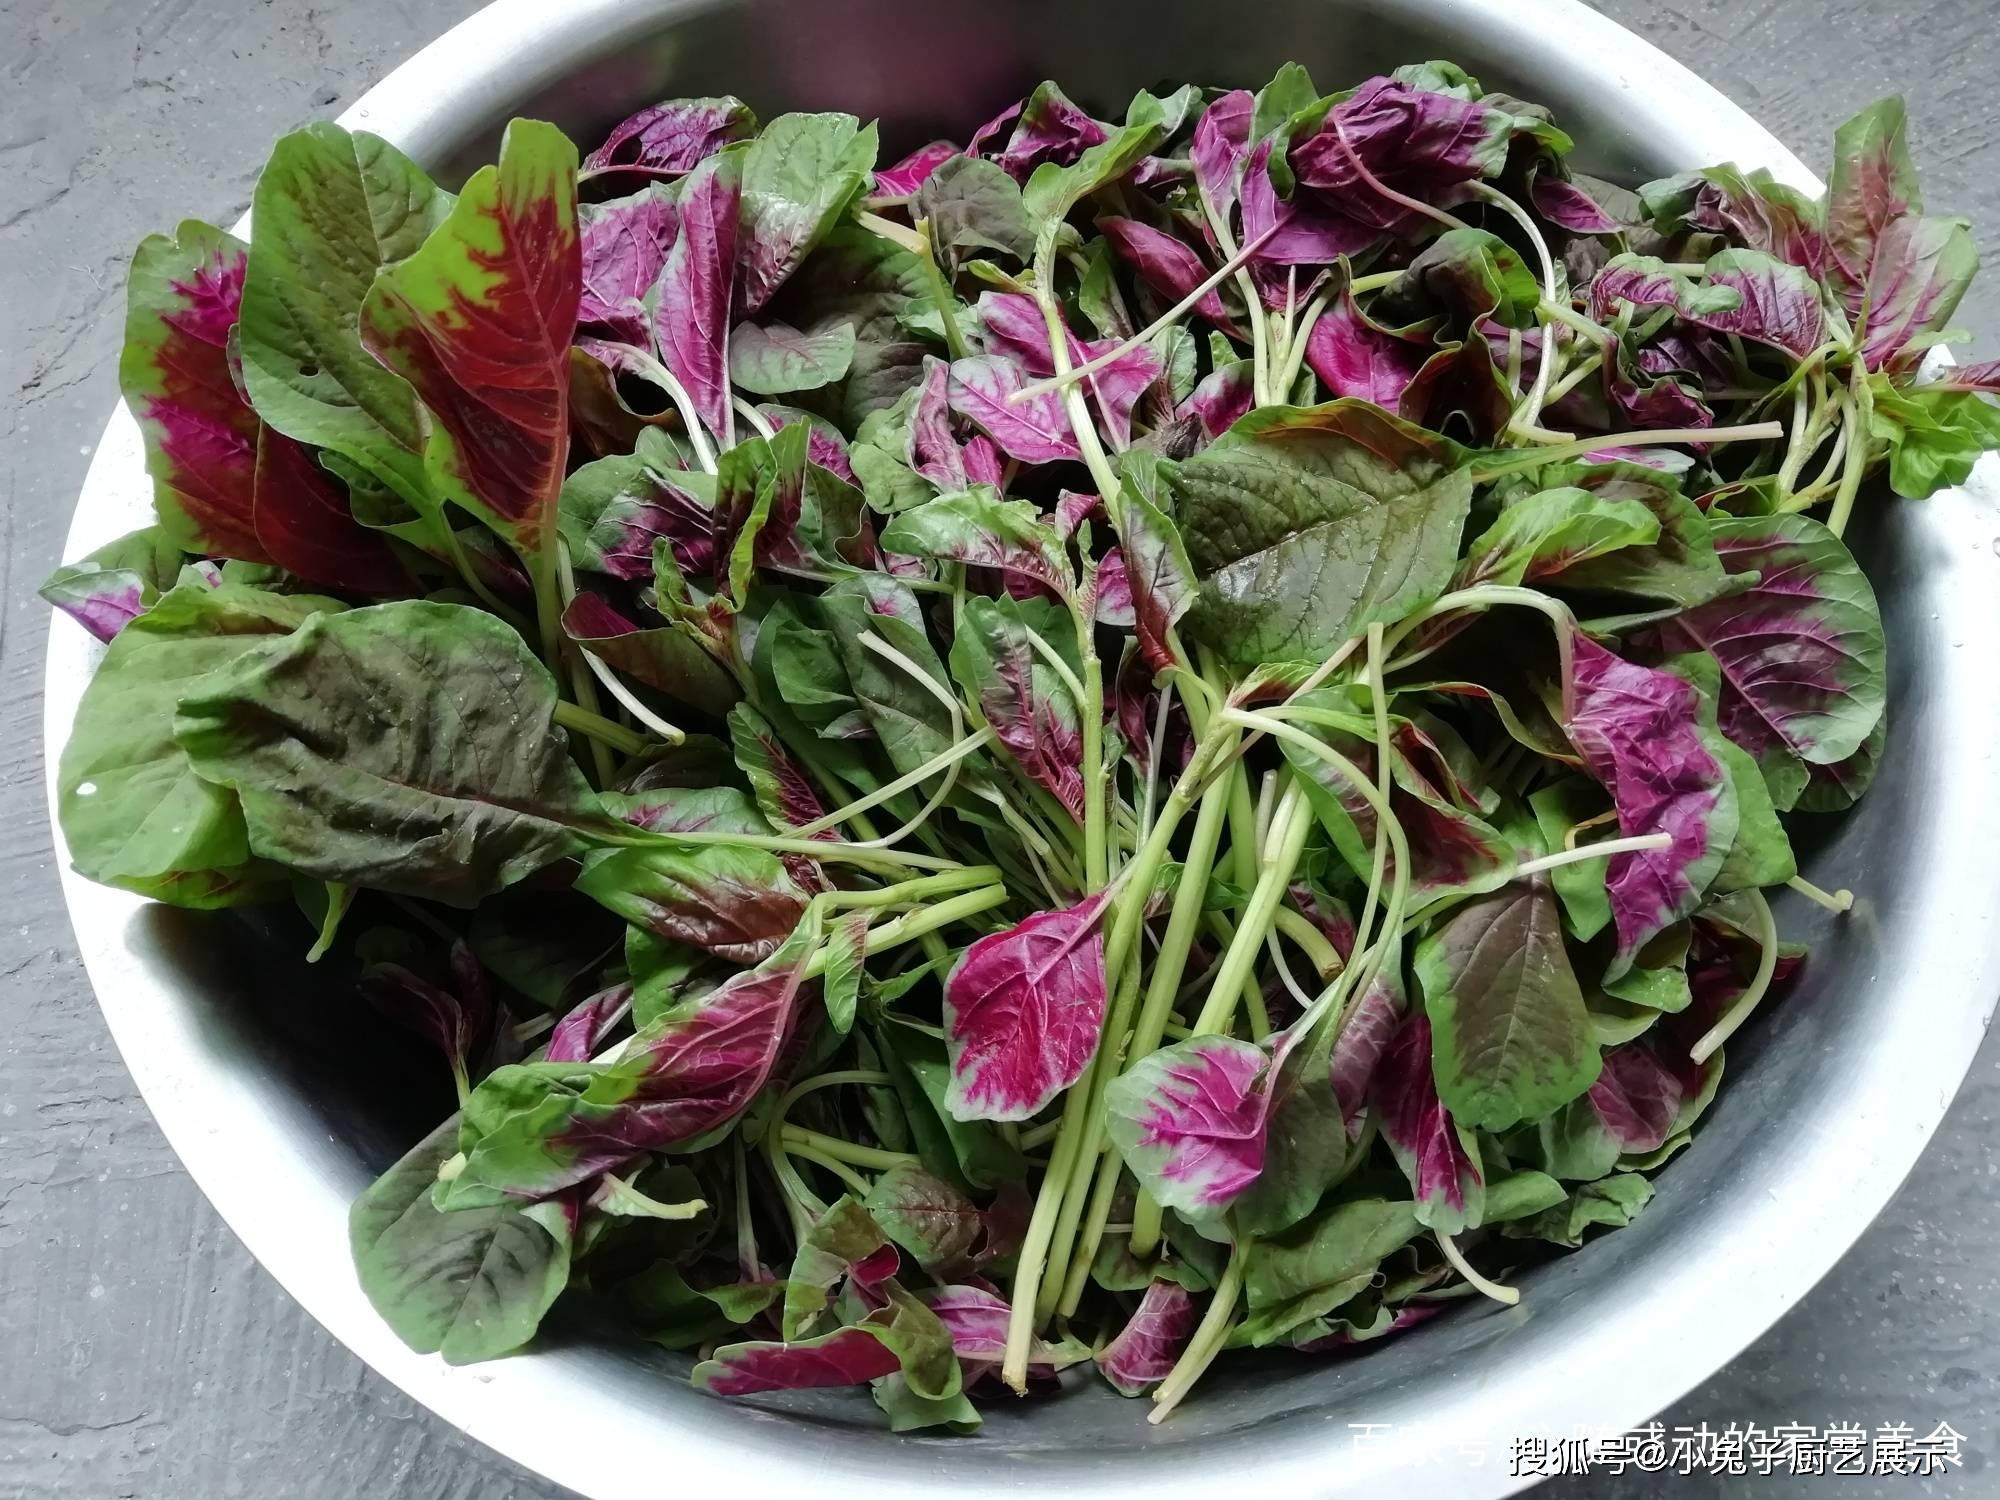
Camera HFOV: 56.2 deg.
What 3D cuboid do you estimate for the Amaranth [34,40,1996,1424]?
[{"bbox_3d":[0.026,-0.009,0.818,0.809,0.311,0.667,1,93,0],"label":"Amaranth"}]
